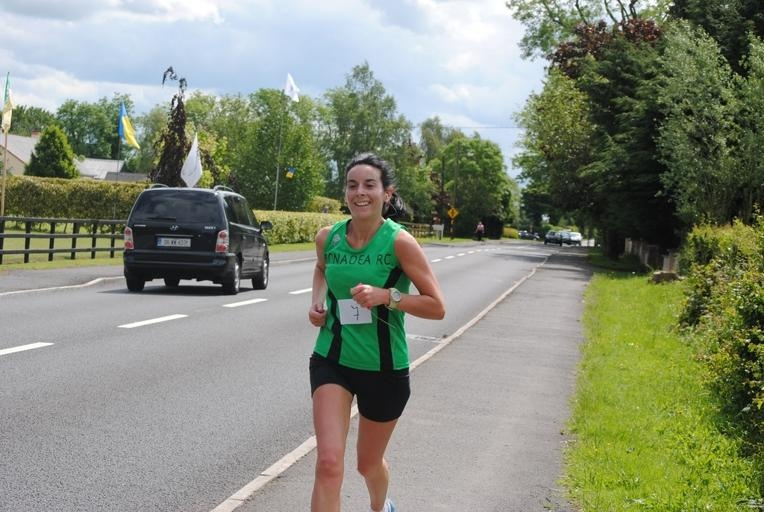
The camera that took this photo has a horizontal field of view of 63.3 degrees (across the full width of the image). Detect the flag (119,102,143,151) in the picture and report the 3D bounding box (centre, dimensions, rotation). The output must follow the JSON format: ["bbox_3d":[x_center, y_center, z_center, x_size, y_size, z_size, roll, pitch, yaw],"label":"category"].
[{"bbox_3d":[-16.064,-8.173,38.846,1.064,0.361,3.681,16,39,-40],"label":"flag"}]

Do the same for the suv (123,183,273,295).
[{"bbox_3d":[-4.430,-0.380,14.985,3.363,2.706,2.099,-2,3,-30],"label":"suv"}]
